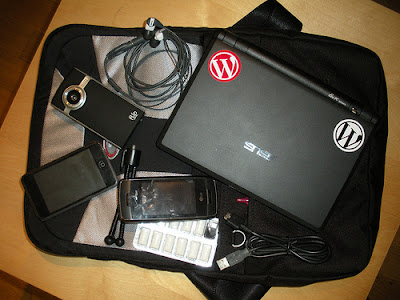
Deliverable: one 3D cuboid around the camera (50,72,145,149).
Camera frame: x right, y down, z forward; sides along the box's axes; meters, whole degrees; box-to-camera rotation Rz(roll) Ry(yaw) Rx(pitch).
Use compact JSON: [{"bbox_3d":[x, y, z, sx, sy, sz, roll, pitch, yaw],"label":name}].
[{"bbox_3d":[-0.374,-0.159,1.411,0.368,0.097,0.222,33,93,-2],"label":"camera"}]
